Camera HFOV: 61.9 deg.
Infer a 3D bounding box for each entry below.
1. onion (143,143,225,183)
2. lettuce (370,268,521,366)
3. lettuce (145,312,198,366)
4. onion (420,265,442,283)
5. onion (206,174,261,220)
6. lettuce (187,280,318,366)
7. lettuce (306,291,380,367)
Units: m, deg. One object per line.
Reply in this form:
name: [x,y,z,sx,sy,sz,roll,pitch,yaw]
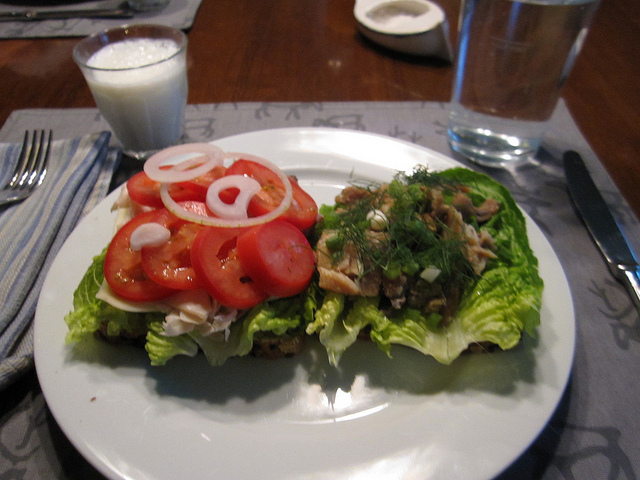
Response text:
onion: [-0.784,-0.459,2.988,0.291,0.243,0.456,19,28,38]
lettuce: [0.684,0.419,2.868,0.746,0.157,0.428,-8,55,-4]
lettuce: [-0.786,0.534,2.823,0.243,0.126,0.263,6,24,-13]
onion: [0.587,0.173,2.833,0.086,0.024,0.085,43,101,-9]
onion: [-0.477,-0.222,2.907,0.249,0.124,0.298,15,57,11]
lettuce: [-0.423,0.586,3.007,0.796,0.264,0.644,3,73,-44]
lettuce: [0.119,0.450,2.807,0.381,0.153,0.392,27,88,-20]
